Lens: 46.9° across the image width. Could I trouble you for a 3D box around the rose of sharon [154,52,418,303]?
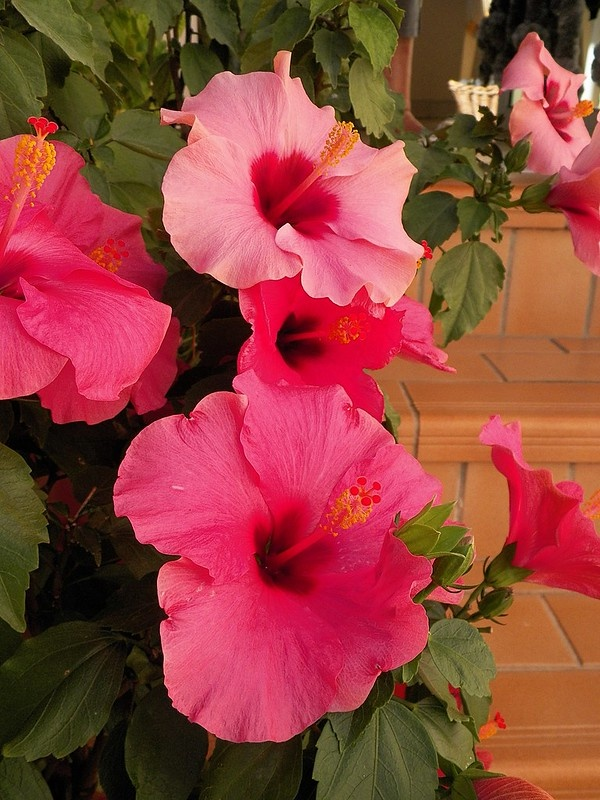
[{"bbox_3d":[-0.001,-0.169,0.512,0.188,0.104,0.235,0,55,-1],"label":"rose of sharon"}]
